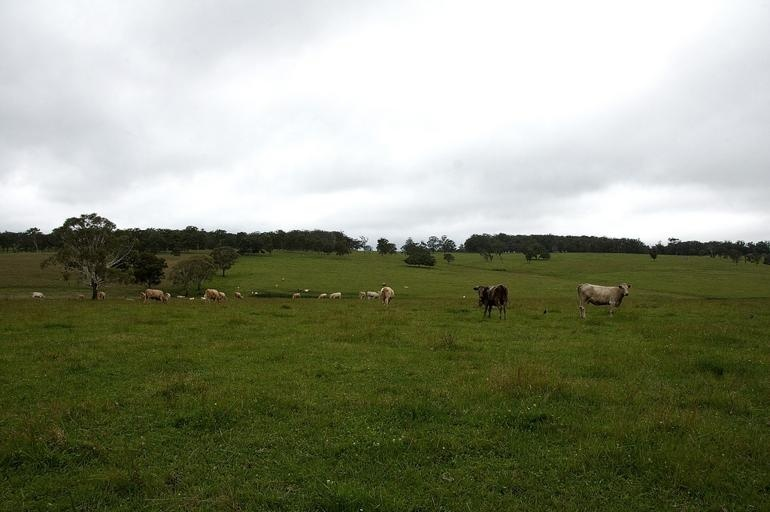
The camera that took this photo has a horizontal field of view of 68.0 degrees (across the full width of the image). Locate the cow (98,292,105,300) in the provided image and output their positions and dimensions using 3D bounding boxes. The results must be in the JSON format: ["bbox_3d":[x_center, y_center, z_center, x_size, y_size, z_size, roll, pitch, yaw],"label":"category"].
[{"bbox_3d":[-34.892,4.885,70.027,0.546,1.119,2.104,7,4,-25],"label":"cow"}]

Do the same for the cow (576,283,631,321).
[{"bbox_3d":[14.280,2.886,37.709,3.118,2.056,3.005,1,11,9],"label":"cow"}]
